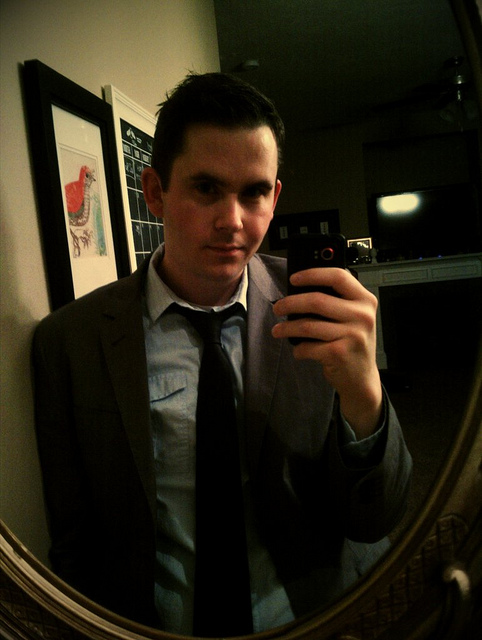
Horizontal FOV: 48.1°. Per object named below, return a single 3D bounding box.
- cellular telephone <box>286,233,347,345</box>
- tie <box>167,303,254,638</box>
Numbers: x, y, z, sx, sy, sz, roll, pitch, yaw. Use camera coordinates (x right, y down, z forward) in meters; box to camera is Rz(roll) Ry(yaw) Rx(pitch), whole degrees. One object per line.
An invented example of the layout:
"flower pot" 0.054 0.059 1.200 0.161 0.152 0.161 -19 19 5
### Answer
"cellular telephone" 0.071 -0.034 0.511 0.057 0.115 0.012 5 33 17
"tie" -0.024 0.143 0.612 0.091 0.318 0.205 -5 6 -6
